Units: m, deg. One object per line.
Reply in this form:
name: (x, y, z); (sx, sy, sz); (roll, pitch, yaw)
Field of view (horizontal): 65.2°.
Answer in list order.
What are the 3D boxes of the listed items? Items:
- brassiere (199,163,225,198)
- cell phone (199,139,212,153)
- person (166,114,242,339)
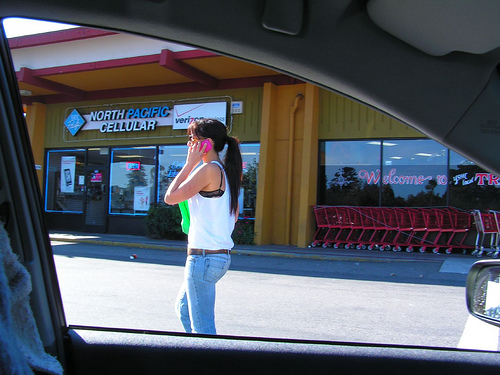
brassiere: (-0.262, -0.040, 2.630); (0.220, 0.231, 0.219); (2, -3, -8)
cell phone: (-0.307, -0.292, 2.776); (0.084, 0.076, 0.022); (13, 10, -38)
person: (-0.315, 0.238, 2.755); (0.403, 1.466, 0.456); (0, -4, 21)
